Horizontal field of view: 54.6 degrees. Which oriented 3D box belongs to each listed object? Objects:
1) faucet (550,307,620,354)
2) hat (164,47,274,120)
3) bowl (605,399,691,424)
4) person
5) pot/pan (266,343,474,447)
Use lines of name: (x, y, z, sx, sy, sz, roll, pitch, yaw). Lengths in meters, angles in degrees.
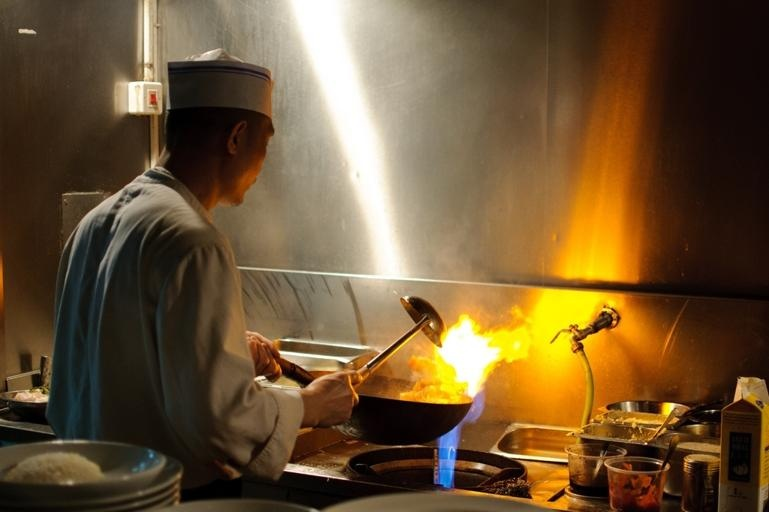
faucet: (0.733, 0.232, 2.709, 0.203, 0.112, 0.130, -26, 36, -14)
hat: (-0.514, -0.504, 2.334, 0.351, 0.206, 0.349, 2, 2, 15)
bowl: (0.888, 0.519, 2.521, 0.272, 0.073, 0.287, 5, -1, 0)
person: (-0.539, -0.022, 2.161, 0.869, 1.096, 0.440, 5, 1, 23)
pot/pan: (-0.056, 0.496, 2.470, 0.654, 0.192, 0.564, 10, 3, 24)
